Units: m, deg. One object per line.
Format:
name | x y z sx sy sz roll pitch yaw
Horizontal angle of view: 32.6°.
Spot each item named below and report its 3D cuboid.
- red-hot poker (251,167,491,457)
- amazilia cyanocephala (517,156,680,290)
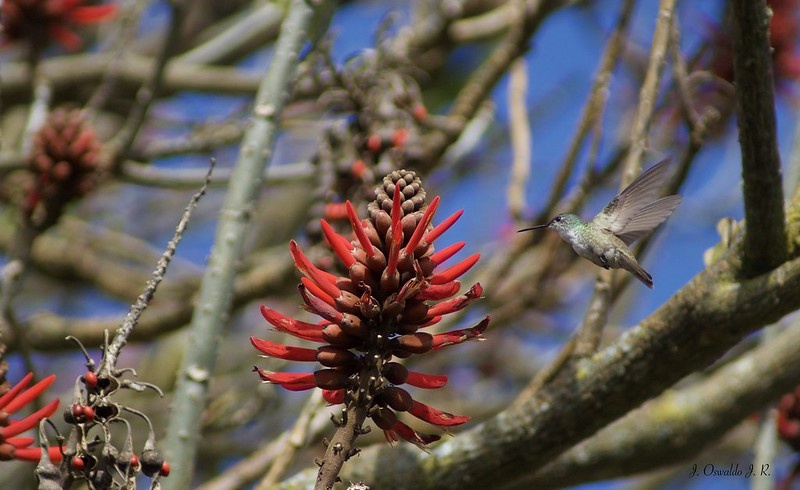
red-hot poker | -0.108 0.257 5.263 0.882 0.982 0.246 -5 1 -4
amazilia cyanocephala | 0.885 -0.079 5.862 0.675 0.345 0.534 7 2 27
